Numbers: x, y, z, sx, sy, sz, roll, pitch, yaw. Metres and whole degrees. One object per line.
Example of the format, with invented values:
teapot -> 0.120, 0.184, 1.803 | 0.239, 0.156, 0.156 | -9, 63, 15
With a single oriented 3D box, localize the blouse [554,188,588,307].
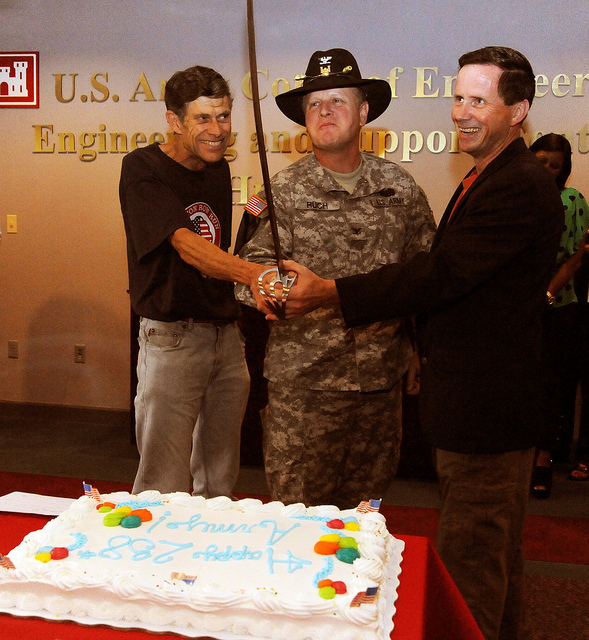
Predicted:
blouse -> 1.320, -0.338, 3.307 | 0.147, 0.564, 0.337 | 6, 16, 20

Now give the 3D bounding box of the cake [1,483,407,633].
cake -> -0.154, 0.422, 1.168 | 0.431, 0.082, 0.292 | 2, 11, 1
